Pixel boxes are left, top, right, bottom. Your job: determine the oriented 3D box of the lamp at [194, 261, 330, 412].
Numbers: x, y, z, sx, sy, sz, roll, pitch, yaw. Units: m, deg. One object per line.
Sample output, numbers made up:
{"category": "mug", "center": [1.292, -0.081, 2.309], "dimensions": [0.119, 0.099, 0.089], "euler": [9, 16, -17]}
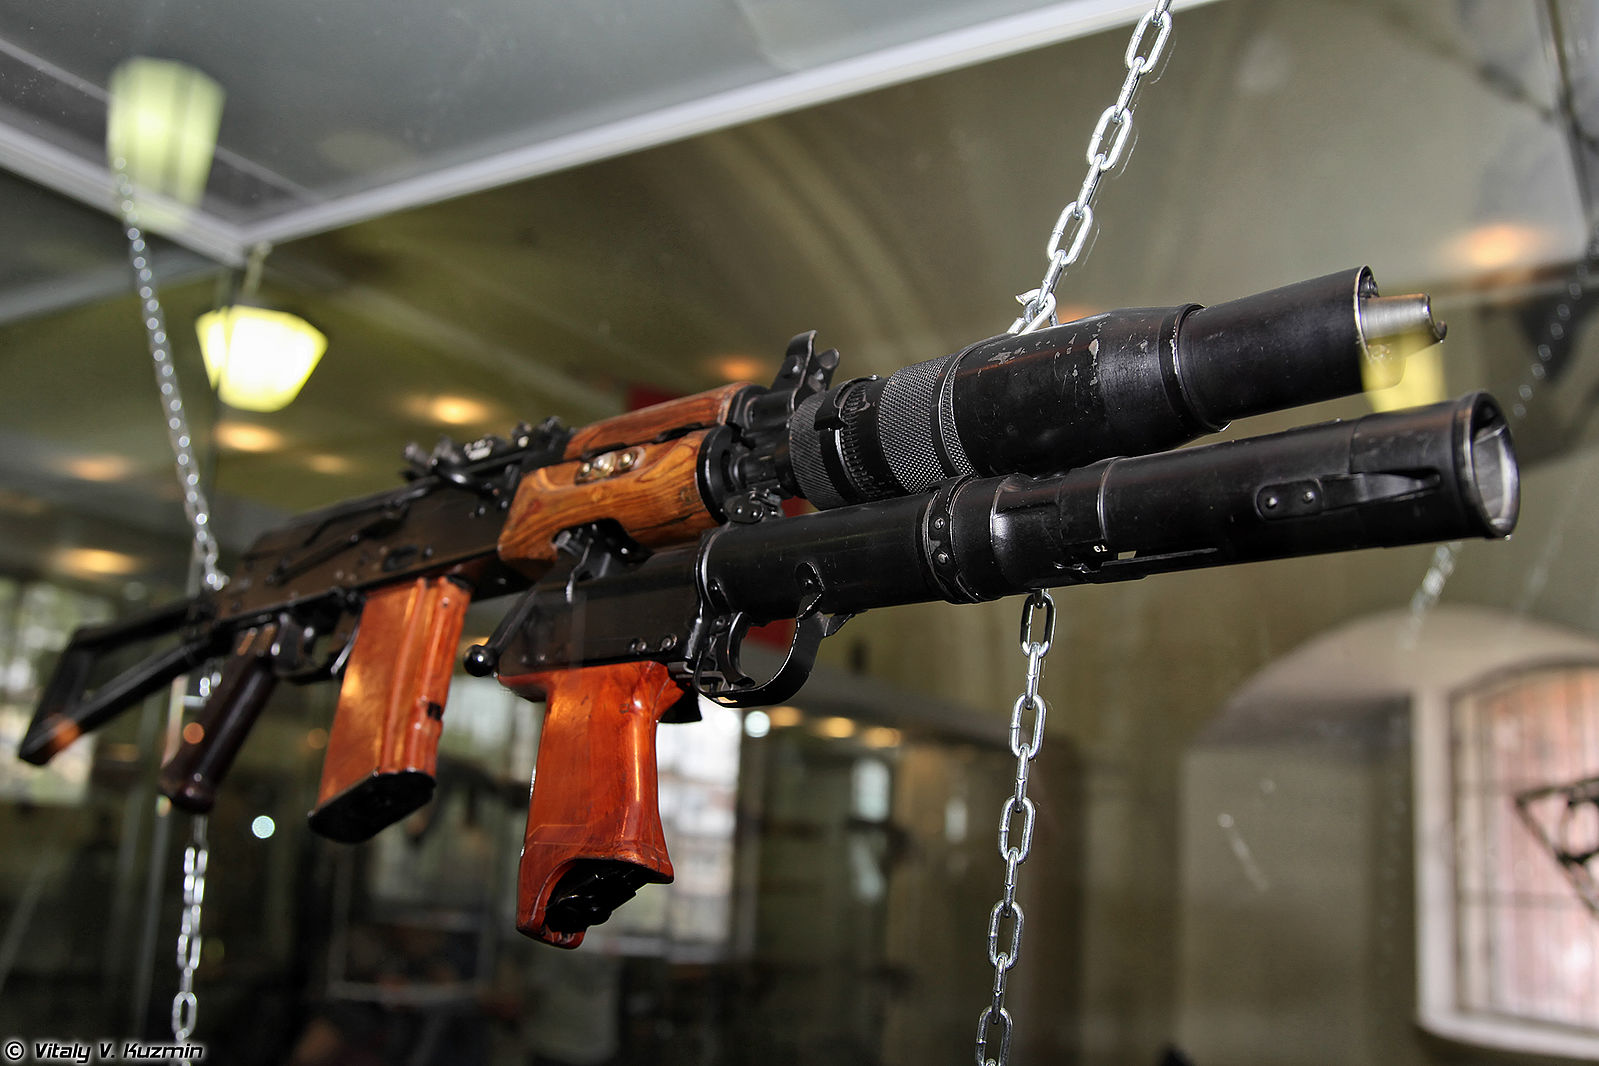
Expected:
{"category": "lamp", "center": [-1.196, -0.397, 3.082], "dimensions": [0.263, 0.383, 0.134], "euler": [0, -2, 16]}
